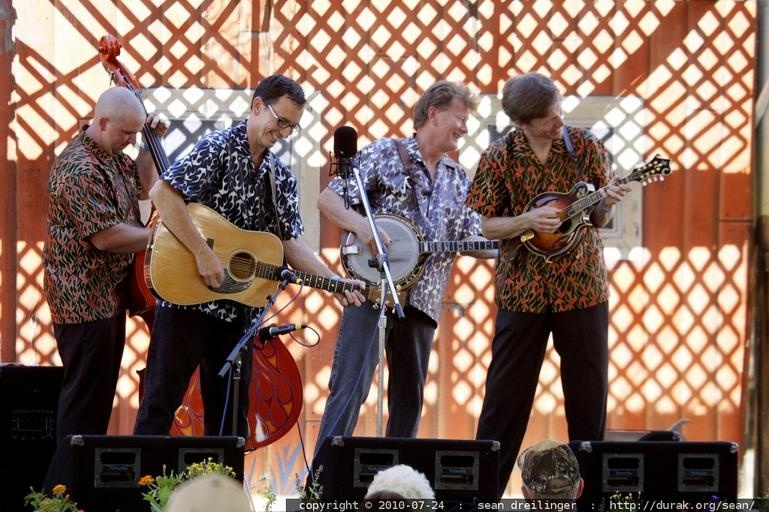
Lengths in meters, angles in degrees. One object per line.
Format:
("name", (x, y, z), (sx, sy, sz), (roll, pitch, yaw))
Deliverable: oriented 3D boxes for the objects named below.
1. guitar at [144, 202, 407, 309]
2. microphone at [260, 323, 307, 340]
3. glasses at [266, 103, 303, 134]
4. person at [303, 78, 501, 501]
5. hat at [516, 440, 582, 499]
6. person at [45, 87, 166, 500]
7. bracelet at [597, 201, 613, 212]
("guitar", (-0.733, 0.163, 8.561), (1.655, 0.775, 0.243), (19, -9, -20))
("microphone", (-0.673, 0.460, 8.308), (0.303, 0.113, 0.220), (1, -17, 8))
("glasses", (-0.666, -0.923, 8.503), (0.053, 0.188, 0.172), (-27, -12, 12))
("person", (0.108, 0.214, 9.267), (1.057, 2.892, 0.947), (1, -1, 1))
("hat", (0.924, 1.198, 7.232), (0.316, 0.321, 0.263), (1, 3, 9))
("person", (-1.878, 0.171, 8.722), (0.783, 2.578, 0.640), (8, -8, -43))
("bracelet", (1.447, -0.328, 8.391), (0.095, 0.043, 0.071), (10, -18, -20))
